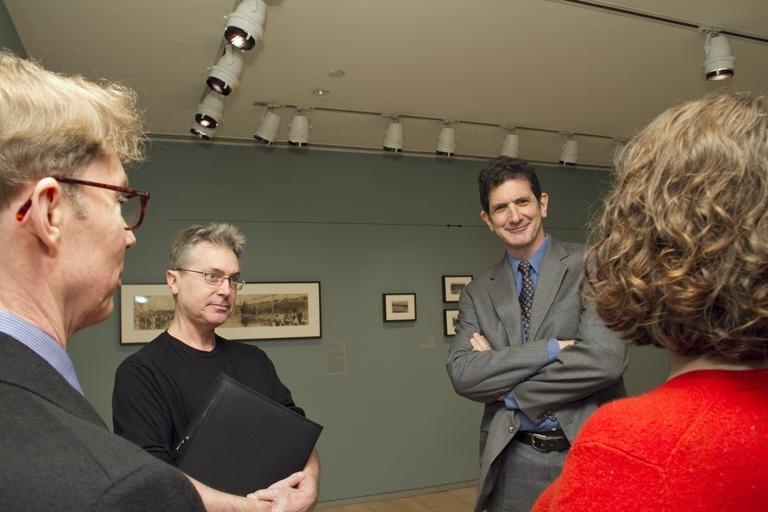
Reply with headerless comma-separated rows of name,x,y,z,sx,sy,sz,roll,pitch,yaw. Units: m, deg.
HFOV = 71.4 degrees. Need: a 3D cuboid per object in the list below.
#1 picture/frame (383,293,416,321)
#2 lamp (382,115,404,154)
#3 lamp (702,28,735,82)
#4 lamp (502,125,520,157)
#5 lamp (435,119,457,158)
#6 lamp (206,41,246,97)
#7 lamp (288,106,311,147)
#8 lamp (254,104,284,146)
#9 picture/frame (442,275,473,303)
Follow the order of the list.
picture/frame,0.147,0.513,5.369,0.278,0.238,0.028,1,-9,-16
lamp,0.087,-1.052,4.618,0.146,0.288,0.279,2,-2,-1
lamp,2.278,-1.375,3.631,0.202,0.288,0.224,1,-2,14
lamp,1.172,-1.042,4.910,0.144,0.283,0.230,1,-2,12
lamp,0.559,-1.044,4.757,0.165,0.303,0.256,2,-2,5
lamp,-1.003,-1.191,3.403,0.221,0.305,0.221,18,-4,-23
lamp,-0.747,-1.157,4.669,0.221,0.258,0.599,2,25,-14
lamp,-0.949,-1.074,4.348,0.185,0.227,0.178,2,-2,-16
picture/frame,0.636,0.292,4.762,0.289,0.255,0.030,1,-11,-21
